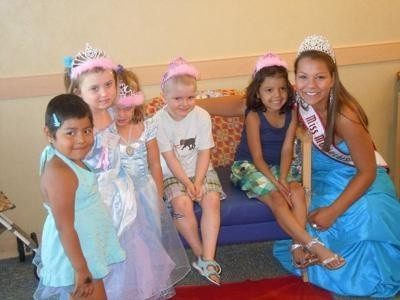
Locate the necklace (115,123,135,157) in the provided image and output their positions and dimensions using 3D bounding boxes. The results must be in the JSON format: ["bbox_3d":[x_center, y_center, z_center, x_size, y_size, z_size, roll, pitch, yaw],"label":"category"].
[{"bbox_3d":[-0.389,-0.054,1.903,0.111,0.161,0.040,-3,-2,-18],"label":"necklace"}]

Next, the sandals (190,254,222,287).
[{"bbox_3d":[0.029,0.664,1.965,0.071,0.088,0.195,-8,16,-32],"label":"sandals"}]

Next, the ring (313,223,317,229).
[{"bbox_3d":[0.659,0.432,2.020,0.023,0.026,0.015,5,4,18],"label":"ring"}]

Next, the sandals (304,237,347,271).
[{"bbox_3d":[0.676,0.569,1.896,0.088,0.060,0.217,-35,44,-15],"label":"sandals"}]

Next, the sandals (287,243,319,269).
[{"bbox_3d":[0.563,0.579,1.948,0.065,0.078,0.194,-22,3,-13],"label":"sandals"}]

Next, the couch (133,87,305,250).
[{"bbox_3d":[0.053,-0.048,2.465,0.895,0.909,1.015,-4,16,-5],"label":"couch"}]
